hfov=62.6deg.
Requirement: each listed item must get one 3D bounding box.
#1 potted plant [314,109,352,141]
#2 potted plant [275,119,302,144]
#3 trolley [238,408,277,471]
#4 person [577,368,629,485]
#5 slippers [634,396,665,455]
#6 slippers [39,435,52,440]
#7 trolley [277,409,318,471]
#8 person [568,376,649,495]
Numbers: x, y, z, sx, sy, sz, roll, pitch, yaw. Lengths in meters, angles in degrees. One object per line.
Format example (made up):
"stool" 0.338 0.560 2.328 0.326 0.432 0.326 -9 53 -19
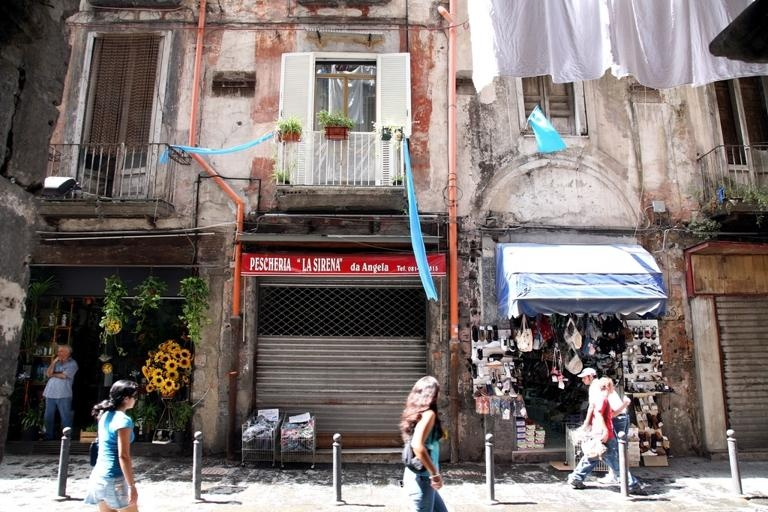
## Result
"potted plant" -1.080 -2.872 14.361 0.797 0.620 0.635 0 -5 -4
"potted plant" -2.096 -2.729 13.901 0.528 0.418 0.516 -1 -2 -10
"trolley" -2.602 3.844 13.353 0.647 1.116 0.599 -1 0 1
"person" 4.364 3.269 12.498 1.062 2.307 1.029 3 -3 -14
"slippers" 5.744 3.638 13.597 0.479 1.295 0.196 -3 -10 4
"slippers" -7.523 4.034 14.028 0.142 0.070 0.196 2 -5 -12
"trolley" -1.834 3.835 13.381 0.708 1.015 0.728 -1 -1 1
"person" 4.197 3.245 12.083 1.056 2.365 0.840 1 -5 -9
